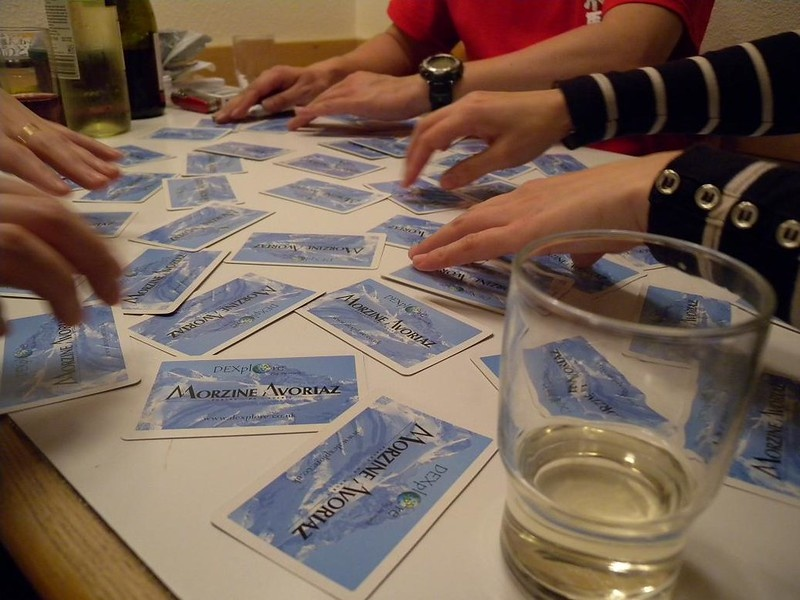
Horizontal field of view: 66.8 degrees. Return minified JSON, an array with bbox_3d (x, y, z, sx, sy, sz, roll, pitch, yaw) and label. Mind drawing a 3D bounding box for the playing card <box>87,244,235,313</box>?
[{"bbox_3d":[-0.295,-0.023,0.752,0.175,0.092,0.001,1,6,-41],"label":"playing card"}]
